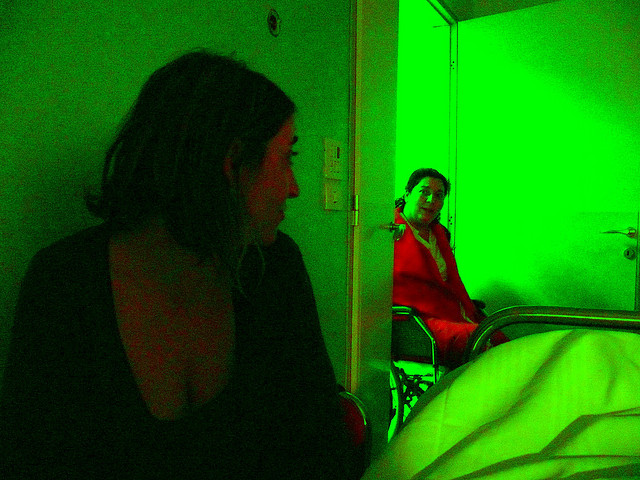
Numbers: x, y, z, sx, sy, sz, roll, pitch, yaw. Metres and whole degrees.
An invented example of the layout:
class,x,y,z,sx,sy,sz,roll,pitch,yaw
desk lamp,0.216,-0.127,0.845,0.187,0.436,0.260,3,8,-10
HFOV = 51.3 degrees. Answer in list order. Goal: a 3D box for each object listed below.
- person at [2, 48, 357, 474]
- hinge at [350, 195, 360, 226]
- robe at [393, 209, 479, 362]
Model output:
class,x,y,z,sx,sy,sz,roll,pitch,yaw
person,-0.308,-0.024,2.305,0.922,1.842,1.072,-2,1,16
hinge,0.114,-0.098,2.192,0.041,0.101,0.018,0,6,-43
robe,0.471,0.177,2.832,0.352,0.587,0.377,3,1,14
